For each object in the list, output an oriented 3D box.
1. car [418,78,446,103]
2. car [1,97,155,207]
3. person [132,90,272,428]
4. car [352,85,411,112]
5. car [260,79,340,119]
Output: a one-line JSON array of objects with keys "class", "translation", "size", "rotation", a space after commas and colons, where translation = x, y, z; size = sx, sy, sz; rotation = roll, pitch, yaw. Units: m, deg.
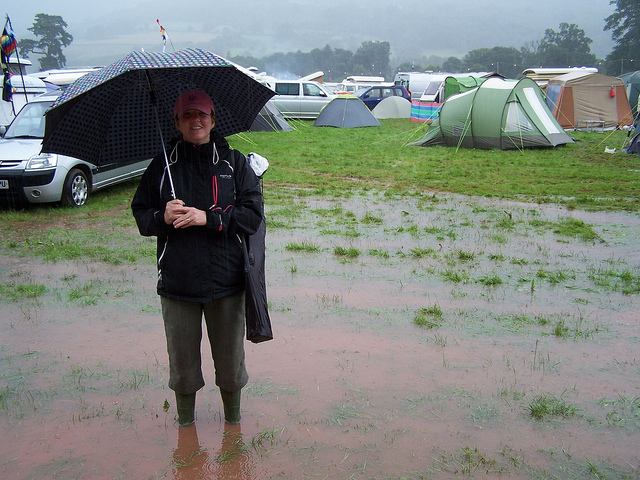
[{"class": "car", "translation": [6.134, -8.183, 28.470], "size": [1.016, 1.327, 6.672], "rotation": [1, 13, 11]}, {"class": "car", "translation": [-5.021, -1.893, 11.451], "size": [2.507, 2.208, 4.411], "rotation": [2, 7, 23]}, {"class": "person", "translation": [-0.858, 0.241, 3.865], "size": [0.929, 2.633, 0.420], "rotation": [-3, 12, -7]}, {"class": "car", "translation": [3.594, -8.307, 30.305], "size": [3.098, 1.413, 1.622], "rotation": [-8, 14, -25]}, {"class": "car", "translation": [-0.987, -7.165, 26.400], "size": [2.708, 1.958, 1.913], "rotation": [-1, 12, 2]}]
